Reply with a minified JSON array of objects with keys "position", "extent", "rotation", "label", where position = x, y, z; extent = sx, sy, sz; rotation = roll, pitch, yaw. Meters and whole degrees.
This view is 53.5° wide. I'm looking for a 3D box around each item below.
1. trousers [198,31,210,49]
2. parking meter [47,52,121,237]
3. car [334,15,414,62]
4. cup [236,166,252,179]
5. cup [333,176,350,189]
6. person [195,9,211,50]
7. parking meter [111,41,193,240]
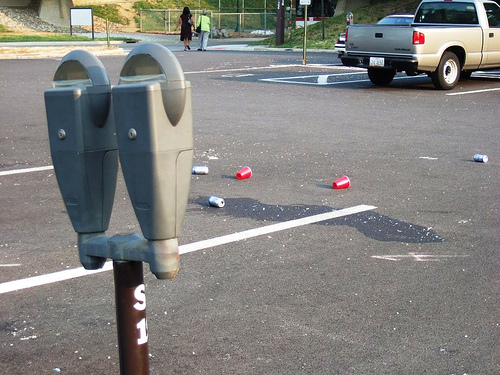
[{"position":[-3.063,-9.737,32.542],"extent":[0.593,1.105,1.487],"rotation":[-1,17,-5],"label":"trousers"},{"position":[-0.760,-0.191,2.272],"extent":[0.292,0.828,0.196],"rotation":[-3,16,-10],"label":"parking meter"},{"position":[4.957,-6.250,20.239],"extent":[1.963,1.698,4.186],"rotation":[-18,23,-38],"label":"car"},{"position":[-0.083,-0.193,6.676],"extent":[0.151,0.159,0.156],"rotation":[-10,-2,0],"label":"cup"},{"position":[1.163,-0.063,6.280],"extent":[0.181,0.159,0.159],"rotation":[-13,41,-24],"label":"cup"},{"position":[-3.113,-10.420,32.603],"extent":[0.919,2.689,0.934],"rotation":[3,-2,-10],"label":"person"},{"position":[-0.417,-0.168,2.117],"extent":[0.343,0.867,0.256],"rotation":[-1,16,-6],"label":"parking meter"}]
